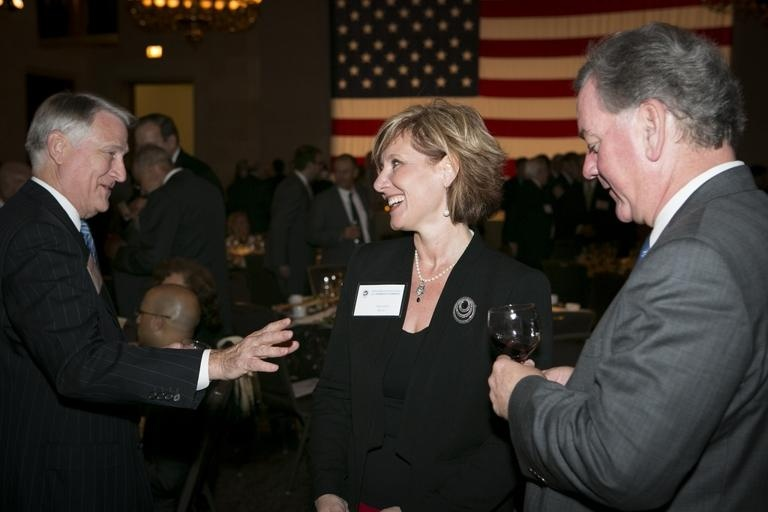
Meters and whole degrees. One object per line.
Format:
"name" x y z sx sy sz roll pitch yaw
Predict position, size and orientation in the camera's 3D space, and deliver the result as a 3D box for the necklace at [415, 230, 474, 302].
"necklace" 0.238 0.066 3.036 0.184 0.312 0.013 13 -20 38
